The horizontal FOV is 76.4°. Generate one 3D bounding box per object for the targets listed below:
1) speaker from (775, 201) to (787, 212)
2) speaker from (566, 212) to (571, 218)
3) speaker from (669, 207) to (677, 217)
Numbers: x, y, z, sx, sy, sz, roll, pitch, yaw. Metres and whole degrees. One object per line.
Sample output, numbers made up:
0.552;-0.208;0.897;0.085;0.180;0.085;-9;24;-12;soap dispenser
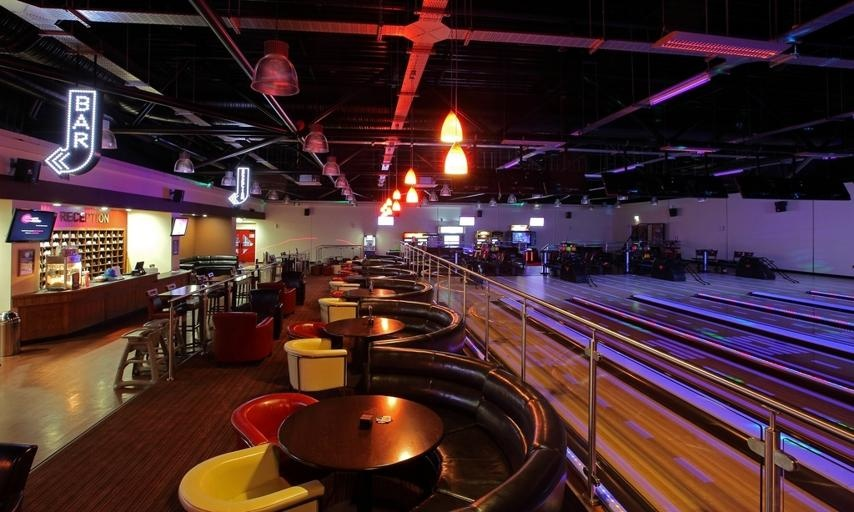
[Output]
13.803;-1.909;20.965;0.394;0.387;0.330;-1;3;18;speaker
8.150;-2.292;30.711;0.390;0.326;0.249;4;0;0;speaker
12.217;-2.121;26.624;0.370;0.398;0.626;3;2;2;speaker
